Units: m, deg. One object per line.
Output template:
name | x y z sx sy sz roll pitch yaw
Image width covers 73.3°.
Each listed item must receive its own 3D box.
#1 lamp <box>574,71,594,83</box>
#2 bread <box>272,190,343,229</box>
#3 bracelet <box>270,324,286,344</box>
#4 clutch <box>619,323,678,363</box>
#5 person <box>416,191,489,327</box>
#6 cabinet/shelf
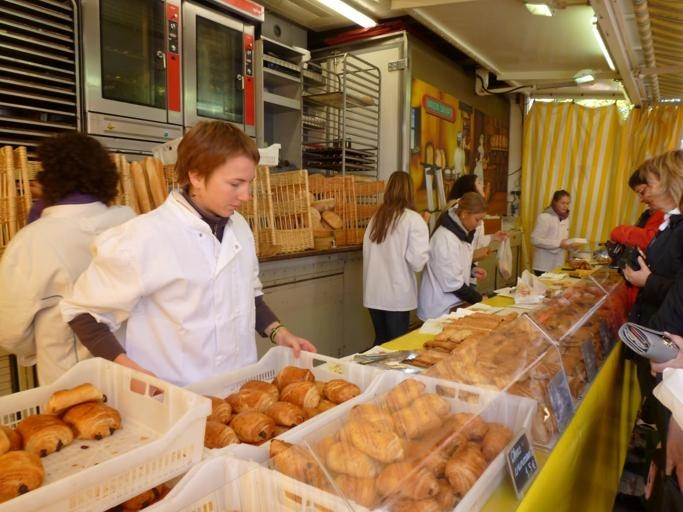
lamp | 3.221 -2.377 6.074 0.226 0.139 0.450 5 10 25
bread | -0.176 -0.411 4.267 0.293 0.286 0.288 -10 5 -9
bracelet | -0.282 0.353 2.054 0.041 0.074 0.080 19 2 0
clutch | 1.179 0.344 1.811 0.254 0.144 0.093 24 -30 -20
person | 0.941 0.023 3.936 0.555 0.653 1.605 6 -28 8
cabinet/shelf | -0.048 -1.441 5.863 0.691 1.950 0.931 -4 11 -43
